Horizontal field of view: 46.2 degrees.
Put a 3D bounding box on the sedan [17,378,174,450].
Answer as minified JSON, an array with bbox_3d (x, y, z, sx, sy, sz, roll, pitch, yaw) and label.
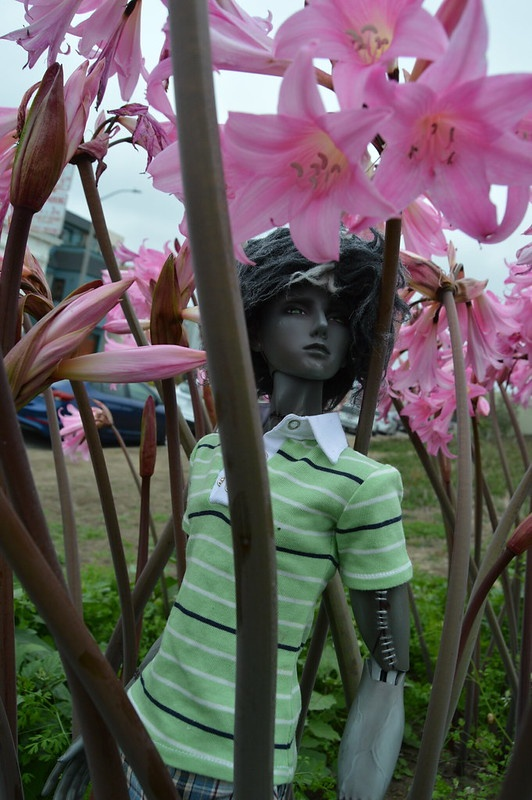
[{"bbox_3d":[-2.085,0.104,7.837,1.191,0.928,2.682,2,2,42],"label":"sedan"}]
